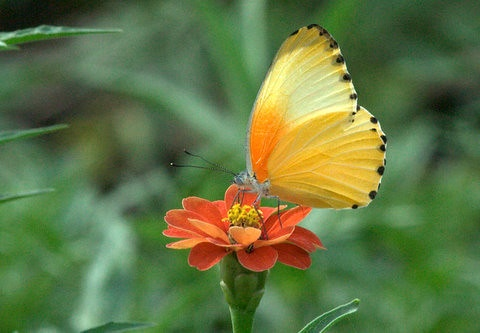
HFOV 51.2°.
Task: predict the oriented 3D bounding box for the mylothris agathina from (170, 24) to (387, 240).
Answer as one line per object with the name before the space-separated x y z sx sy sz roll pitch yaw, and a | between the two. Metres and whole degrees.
mylothris agathina | 0.251 -0.139 2.047 0.572 0.385 0.933 2 -70 -3

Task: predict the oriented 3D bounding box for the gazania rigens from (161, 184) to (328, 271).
gazania rigens | 0.024 0.247 1.741 0.575 0.554 0.201 -15 -89 -16
